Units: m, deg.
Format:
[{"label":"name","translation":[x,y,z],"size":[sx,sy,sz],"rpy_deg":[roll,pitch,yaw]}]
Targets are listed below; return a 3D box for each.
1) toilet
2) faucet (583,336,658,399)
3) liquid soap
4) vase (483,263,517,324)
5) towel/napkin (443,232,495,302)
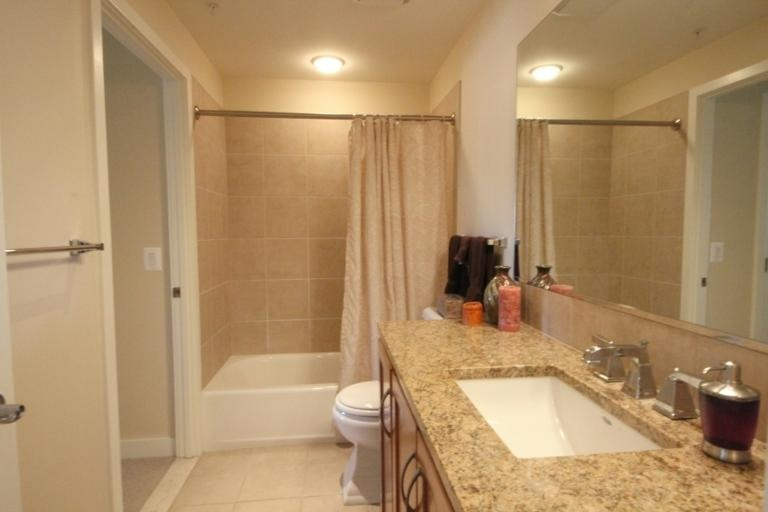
[{"label":"toilet","translation":[-0.114,0.845,3.681],"size":[0.936,1.408,0.775],"rpy_deg":[1,8,-2]},{"label":"faucet","translation":[0.838,0.392,2.074],"size":[0.206,0.170,0.228],"rpy_deg":[0,2,-2]},{"label":"liquid soap","translation":[1.048,0.477,1.759],"size":[0.158,0.304,0.081],"rpy_deg":[1,5,28]},{"label":"vase","translation":[0.581,0.191,2.761],"size":[0.195,0.265,0.190],"rpy_deg":[-2,2,16]},{"label":"towel/napkin","translation":[0.467,0.067,3.110],"size":[0.132,0.338,0.360],"rpy_deg":[2,6,-13]}]
